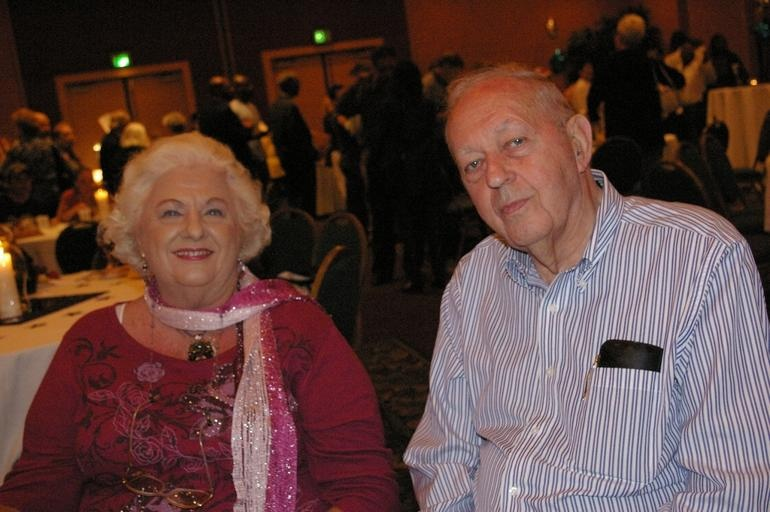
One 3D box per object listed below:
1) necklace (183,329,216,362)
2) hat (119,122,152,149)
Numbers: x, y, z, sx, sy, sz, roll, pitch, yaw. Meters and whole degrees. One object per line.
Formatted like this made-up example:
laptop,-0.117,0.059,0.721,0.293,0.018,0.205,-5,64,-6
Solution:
necklace,-0.606,0.292,2.336,0.097,0.090,0.029,1,-18,-1
hat,-1.625,-0.775,4.722,0.208,0.187,0.201,1,9,-5
